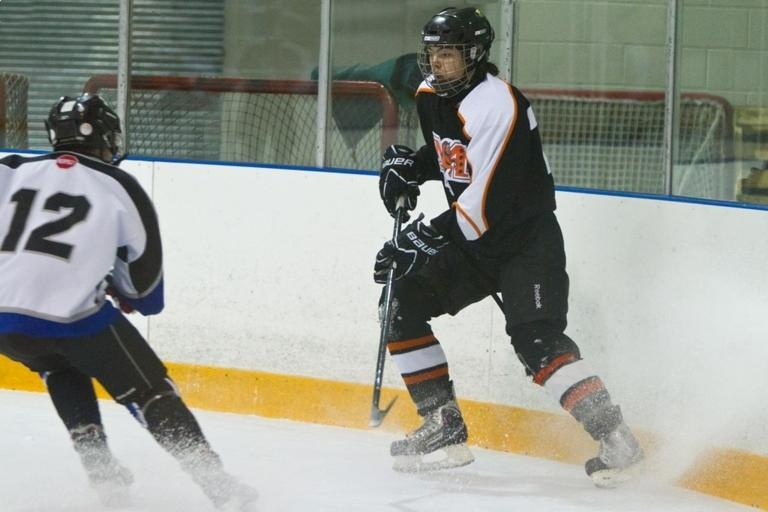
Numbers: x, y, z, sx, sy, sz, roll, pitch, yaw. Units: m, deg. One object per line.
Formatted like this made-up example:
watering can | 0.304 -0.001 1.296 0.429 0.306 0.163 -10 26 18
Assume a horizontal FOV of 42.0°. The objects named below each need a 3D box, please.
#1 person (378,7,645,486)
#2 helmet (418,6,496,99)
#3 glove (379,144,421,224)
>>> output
person | 0.524 -0.043 4.610 1.139 2.145 0.355 5 10 14
helmet | 0.323 -0.981 4.695 0.403 0.390 0.336 -27 29 -29
glove | 0.077 -0.347 4.791 0.183 0.332 0.108 -14 -15 30
